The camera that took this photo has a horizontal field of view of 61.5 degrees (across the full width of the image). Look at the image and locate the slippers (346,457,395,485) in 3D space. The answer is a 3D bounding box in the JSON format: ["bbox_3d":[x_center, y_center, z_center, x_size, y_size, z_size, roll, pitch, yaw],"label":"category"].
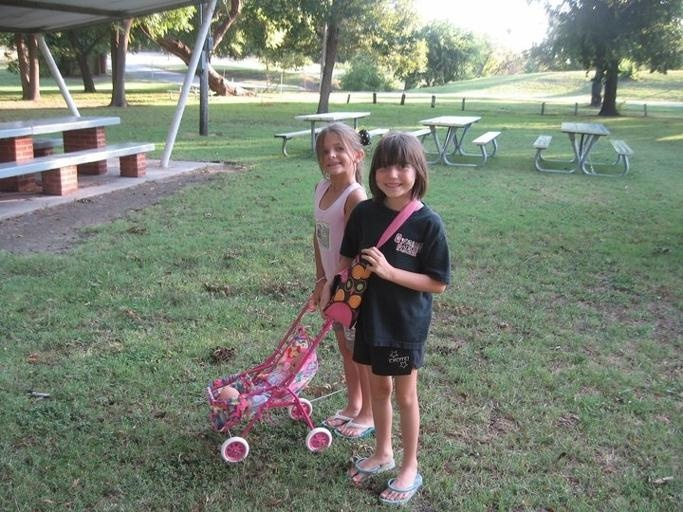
[{"bbox_3d":[0.206,1.512,4.067,0.256,0.070,0.153,-10,25,-9],"label":"slippers"}]

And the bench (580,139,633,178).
[{"bbox_3d":[6.277,-2.319,13.507,1.035,0.634,2.646,10,18,26],"label":"bench"}]

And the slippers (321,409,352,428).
[{"bbox_3d":[-0.028,1.272,4.458,0.235,0.070,0.092,-3,11,-34],"label":"slippers"}]

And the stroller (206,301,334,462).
[{"bbox_3d":[-0.580,0.879,4.685,1.129,1.423,0.807,1,10,-21],"label":"stroller"}]

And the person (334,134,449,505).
[{"bbox_3d":[0.339,0.418,3.868,0.574,2.392,0.697,-9,19,-32],"label":"person"}]

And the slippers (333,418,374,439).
[{"bbox_3d":[0.083,1.303,4.406,0.255,0.069,0.145,7,4,-35],"label":"slippers"}]

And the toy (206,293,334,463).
[{"bbox_3d":[-0.567,0.900,4.692,1.135,1.454,0.815,1,7,-22],"label":"toy"}]
